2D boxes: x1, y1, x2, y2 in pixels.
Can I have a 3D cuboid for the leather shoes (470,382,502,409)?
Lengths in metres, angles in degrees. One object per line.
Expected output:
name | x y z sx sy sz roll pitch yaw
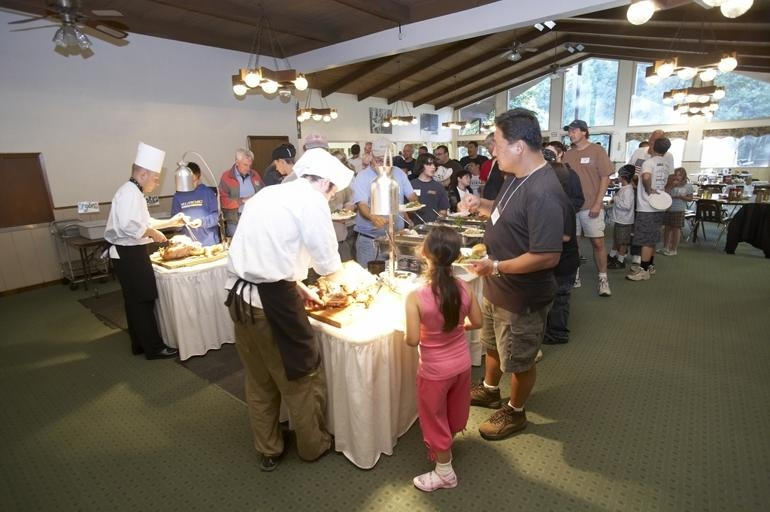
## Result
leather shoes | 0.945 1.406 4.565 0.413 0.191 0.149 3 5 6

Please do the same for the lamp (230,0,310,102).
lamp | -1.983 -3.383 7.766 1.008 1.472 3.652 -5 14 -13

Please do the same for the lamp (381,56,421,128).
lamp | 0.412 -4.501 13.811 1.282 1.519 1.145 1 12 -1

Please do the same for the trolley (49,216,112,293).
trolley | -4.870 0.056 7.637 0.744 0.896 0.658 6 4 -38

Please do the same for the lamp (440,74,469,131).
lamp | 2.251 -4.652 14.873 0.905 1.016 0.909 5 15 34

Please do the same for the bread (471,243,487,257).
bread | 0.904 -0.052 4.358 0.126 0.130 0.050 -34 -28 -8

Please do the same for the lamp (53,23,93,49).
lamp | -3.599 -2.540 5.311 0.258 0.268 0.267 22 27 35

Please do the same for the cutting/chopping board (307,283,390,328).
cutting/chopping board | -0.368 0.493 4.126 0.446 0.034 0.313 -20 27 -39

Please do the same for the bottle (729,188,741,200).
bottle | 6.774 -1.202 8.957 0.274 0.268 0.206 9 12 36

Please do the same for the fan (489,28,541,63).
fan | 2.649 -4.237 9.151 0.547 0.542 0.580 5 11 34

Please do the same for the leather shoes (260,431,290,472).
leather shoes | -0.993 1.824 4.177 0.139 0.163 0.415 6 -9 4

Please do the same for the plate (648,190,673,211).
plate | 4.086 -0.816 6.813 0.291 0.289 0.069 -39 -22 -2

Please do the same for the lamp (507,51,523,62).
lamp | 2.609 -3.980 9.073 0.169 0.133 0.374 9 17 37

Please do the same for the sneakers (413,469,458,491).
sneakers | 0.437 1.915 3.894 0.347 0.140 0.160 1 0 -2

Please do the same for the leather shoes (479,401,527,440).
leather shoes | 1.131 1.551 4.325 0.522 0.256 0.221 -6 15 -22

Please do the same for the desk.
desk | -1.190 0.716 4.890 3.172 0.889 1.997 4 11 34

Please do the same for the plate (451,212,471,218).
plate | 1.039 -0.553 6.229 0.186 0.049 0.147 0 3 32
